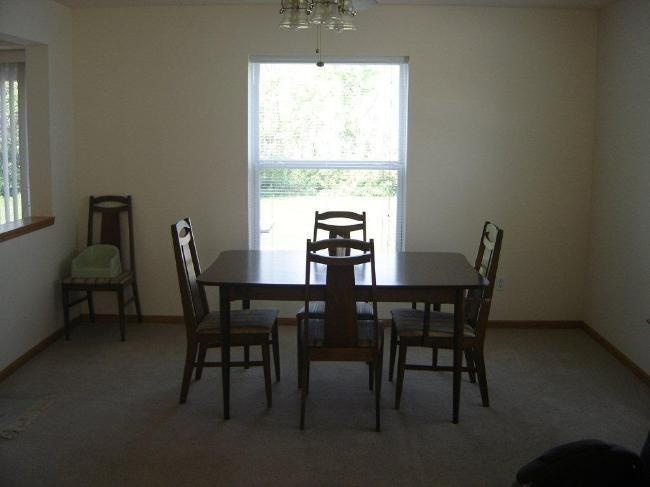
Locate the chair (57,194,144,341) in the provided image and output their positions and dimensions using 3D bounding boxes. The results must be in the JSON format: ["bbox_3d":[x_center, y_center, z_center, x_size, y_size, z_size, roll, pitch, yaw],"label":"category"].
[{"bbox_3d":[-1.995,0.190,4.790,0.637,1.176,0.612,-2,12,-14],"label":"chair"}]

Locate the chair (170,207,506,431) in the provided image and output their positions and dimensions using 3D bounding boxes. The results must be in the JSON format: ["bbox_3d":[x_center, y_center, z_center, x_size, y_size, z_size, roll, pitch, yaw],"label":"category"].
[{"bbox_3d":[-0.038,0.458,3.858,1.974,1.209,0.930,2,12,1],"label":"chair"}]
